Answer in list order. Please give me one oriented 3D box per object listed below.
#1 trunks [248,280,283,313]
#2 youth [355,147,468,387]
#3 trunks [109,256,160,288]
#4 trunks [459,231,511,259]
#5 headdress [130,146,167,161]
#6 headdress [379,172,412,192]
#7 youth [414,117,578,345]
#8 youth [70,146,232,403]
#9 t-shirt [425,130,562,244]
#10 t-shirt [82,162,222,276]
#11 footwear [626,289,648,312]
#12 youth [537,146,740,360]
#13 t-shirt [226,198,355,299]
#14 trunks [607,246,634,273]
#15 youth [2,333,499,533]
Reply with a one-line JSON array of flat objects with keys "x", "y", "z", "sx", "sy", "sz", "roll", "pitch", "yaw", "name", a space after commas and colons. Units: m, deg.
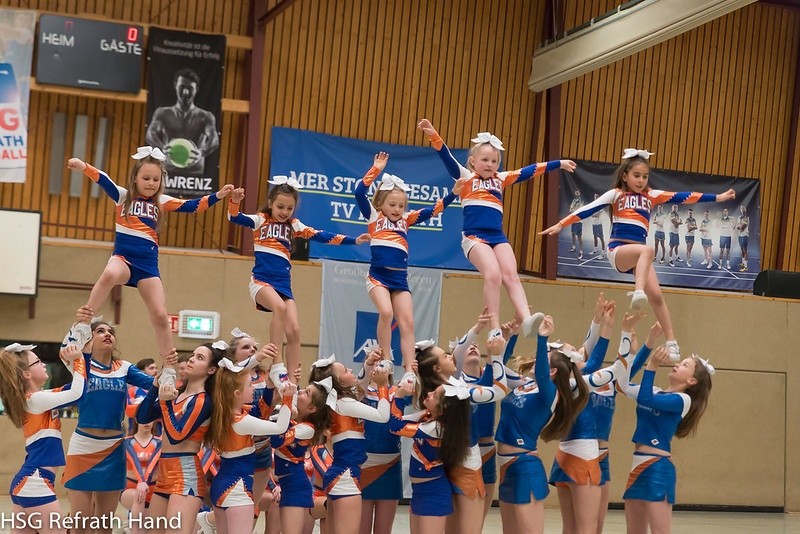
[{"x": -1.770, "y": 0.345, "z": 13.303, "sx": 0.518, "sy": 0.333, "sz": 0.268, "roll": 6, "pitch": 2, "yaw": 44, "name": "trunks"}, {"x": 0.125, "y": 0.091, "z": 13.139, "sx": 1.392, "sy": 2.973, "sz": 0.805, "roll": 7, "pitch": -24, "yaw": -18, "name": "youth"}, {"x": -3.265, "y": 0.044, "z": 12.673, "sx": 0.599, "sy": 0.300, "sz": 0.308, "roll": 4, "pitch": 1, "yaw": -16, "name": "trunks"}, {"x": 1.040, "y": -0.197, "z": 12.935, "sx": 0.517, "sy": 0.369, "sz": 0.308, "roll": 3, "pitch": -22, "yaw": -14, "name": "trunks"}, {"x": -3.095, "y": -1.416, "z": 12.773, "sx": 0.341, "sy": 0.144, "sz": 0.475, "roll": 5, "pitch": 1, "yaw": -11, "name": "headdress"}, {"x": -0.053, "y": -1.067, "z": 13.300, "sx": 0.375, "sy": 0.139, "sz": 0.394, "roll": 31, "pitch": 14, "yaw": 15, "name": "headdress"}, {"x": 1.459, "y": -0.522, "z": 16.168, "sx": 2.812, "sy": 3.927, "sz": 2.027, "roll": 6, "pitch": -15, "yaw": -28, "name": "youth"}, {"x": -3.530, "y": 0.124, "z": 14.418, "sx": 2.473, "sy": 3.479, "sz": 1.086, "roll": 18, "pitch": -42, "yaw": -27, "name": "youth"}, {"x": 1.443, "y": -1.292, "z": 16.060, "sx": 1.659, "sy": 2.276, "sz": 0.652, "roll": 9, "pitch": -41, "yaw": -13, "name": "t-shirt"}, {"x": -3.699, "y": -0.725, "z": 15.061, "sx": 1.516, "sy": 1.549, "sz": 0.484, "roll": 8, "pitch": -34, "yaw": -23, "name": "t-shirt"}, {"x": 3.168, "y": 0.445, "z": 13.661, "sx": 0.173, "sy": 0.213, "sz": 0.486, "roll": 1, "pitch": -34, "yaw": -3, "name": "footwear"}, {"x": 3.221, "y": -0.224, "z": 13.094, "sx": 2.431, "sy": 3.147, "sz": 1.178, "roll": 5, "pitch": -26, "yaw": -4, "name": "youth"}, {"x": -1.674, "y": -0.232, "z": 15.413, "sx": 1.281, "sy": 1.569, "sz": 0.486, "roll": 7, "pitch": -31, "yaw": -25, "name": "t-shirt"}, {"x": 2.861, "y": -0.099, "z": 13.499, "sx": 0.314, "sy": 0.373, "sz": 0.475, "roll": 7, "pitch": 6, "yaw": 27, "name": "trunks"}, {"x": -1.602, "y": 2.025, "z": 11.717, "sx": 4.952, "sy": 1.752, "sz": 0.808, "roll": 5, "pitch": 1, "yaw": 3, "name": "youth"}]
